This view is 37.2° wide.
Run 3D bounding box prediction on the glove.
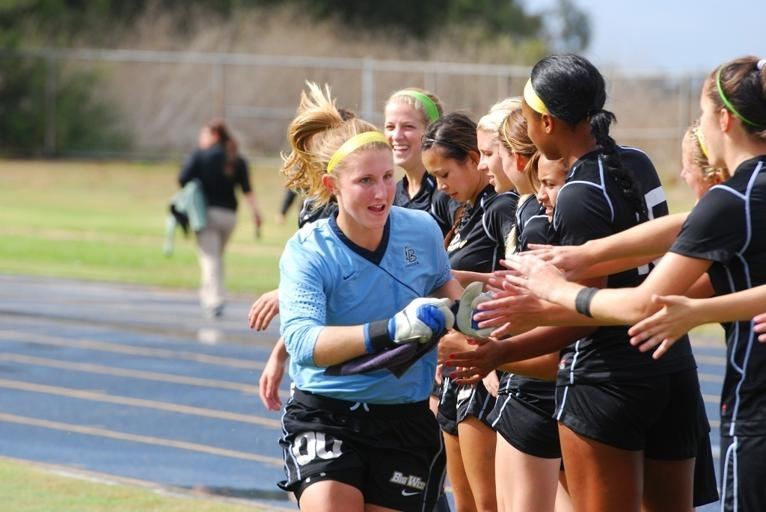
[{"bbox_3d":[0.255,0.400,7.258,0.300,0.312,1.163,-3,-11,23],"label":"glove"}]
